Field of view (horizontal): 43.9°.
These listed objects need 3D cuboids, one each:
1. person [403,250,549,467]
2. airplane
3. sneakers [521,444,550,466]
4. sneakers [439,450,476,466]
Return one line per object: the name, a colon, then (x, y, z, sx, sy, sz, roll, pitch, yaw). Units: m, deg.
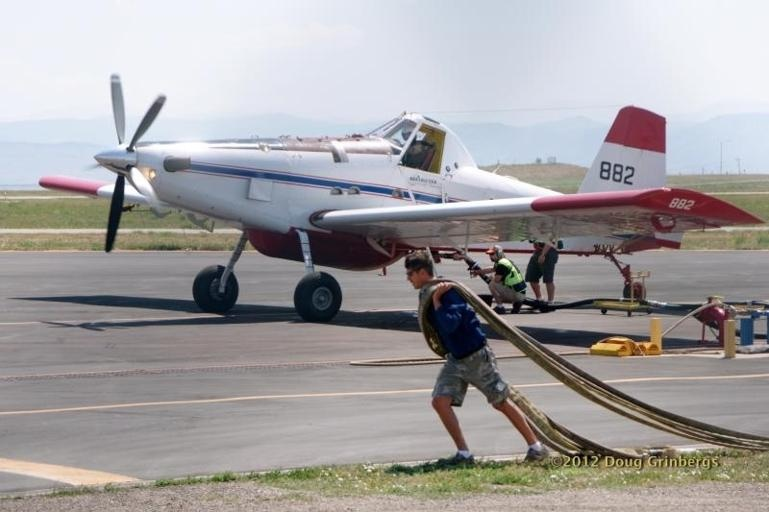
person: (0.946, 1.124, 10.518, 1.777, 2.237, 0.549, 6, 6, 7)
airplane: (0.696, -1.151, 19.602, 9.560, 2.166, 10.375, 2, -2, -35)
sneakers: (1.709, 2.180, 10.497, 0.351, 0.189, 0.145, 2, 6, -20)
sneakers: (0.779, 2.205, 10.377, 0.408, 0.164, 0.189, 3, 5, 3)
